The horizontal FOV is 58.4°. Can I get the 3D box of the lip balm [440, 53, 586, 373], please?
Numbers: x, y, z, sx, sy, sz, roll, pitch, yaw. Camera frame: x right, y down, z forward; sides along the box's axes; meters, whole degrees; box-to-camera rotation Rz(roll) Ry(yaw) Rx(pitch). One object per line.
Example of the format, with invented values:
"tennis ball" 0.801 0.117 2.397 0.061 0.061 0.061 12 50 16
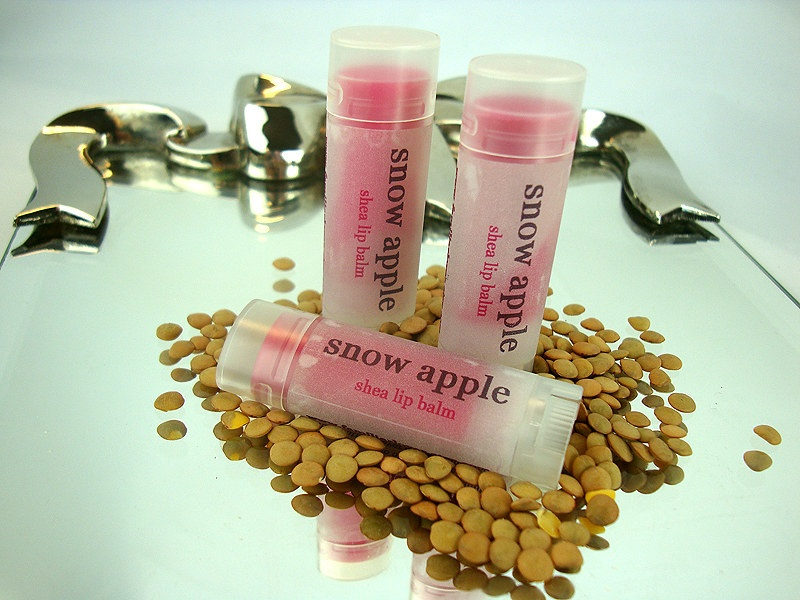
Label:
"lip balm" 0.110 -0.079 0.761 0.115 0.305 0.140 8 40 6
